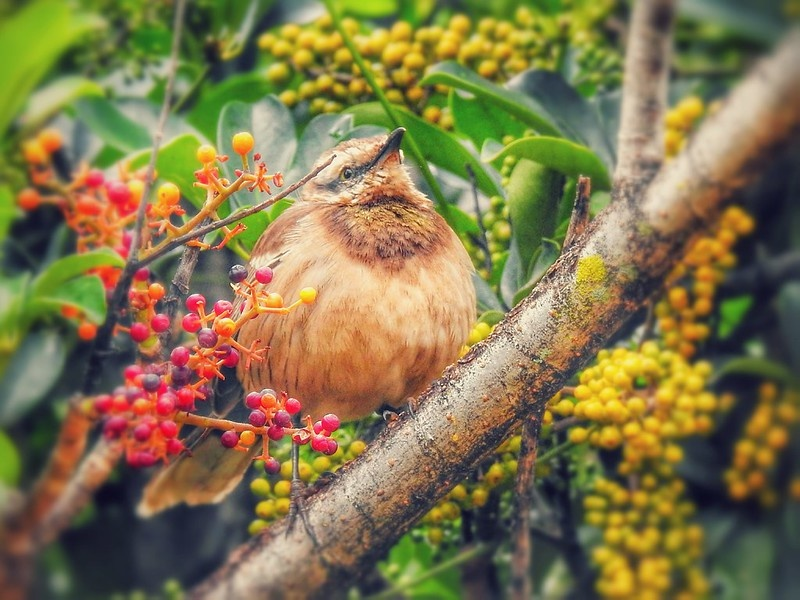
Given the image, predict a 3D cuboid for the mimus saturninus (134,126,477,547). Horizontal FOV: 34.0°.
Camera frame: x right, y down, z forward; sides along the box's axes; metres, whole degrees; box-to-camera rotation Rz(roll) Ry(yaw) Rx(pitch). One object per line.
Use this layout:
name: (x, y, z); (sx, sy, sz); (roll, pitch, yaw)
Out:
mimus saturninus: (-0.241, 0.102, 3.561); (0.769, 0.456, 0.820); (-33, 33, 30)
